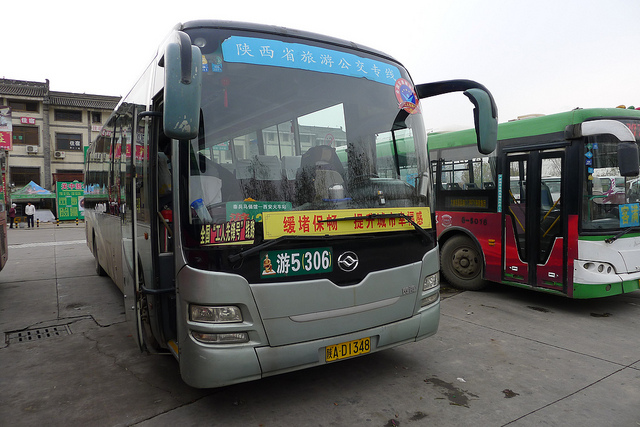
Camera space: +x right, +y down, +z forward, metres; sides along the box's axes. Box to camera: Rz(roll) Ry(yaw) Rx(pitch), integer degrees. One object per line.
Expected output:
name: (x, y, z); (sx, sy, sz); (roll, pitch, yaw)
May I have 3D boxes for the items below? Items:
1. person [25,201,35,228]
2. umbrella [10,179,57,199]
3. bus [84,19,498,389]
person: (-19.056, 0.194, 25.771); (0.445, 1.527, 1.386); (-8, 11, -39)
umbrella: (-21.629, -1.565, 29.439); (1.923, 0.984, 1.946); (-1, 2, -43)
bus: (-2.543, -0.391, 8.716); (4.464, 4.368, 10.833); (-1, 3, -35)
